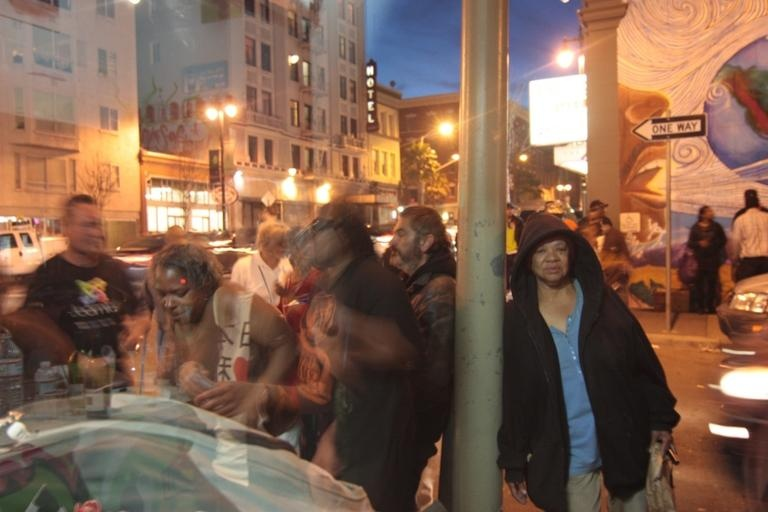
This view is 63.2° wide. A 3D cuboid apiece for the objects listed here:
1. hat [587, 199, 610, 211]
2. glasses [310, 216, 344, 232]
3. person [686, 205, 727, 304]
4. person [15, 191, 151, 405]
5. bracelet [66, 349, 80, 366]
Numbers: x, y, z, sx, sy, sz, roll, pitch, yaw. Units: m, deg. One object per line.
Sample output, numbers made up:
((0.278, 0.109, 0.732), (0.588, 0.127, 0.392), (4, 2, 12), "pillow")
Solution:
((3.892, -0.928, 11.285), (0.333, 0.131, 0.318), (-14, -2, 25), "hat")
((-0.294, -0.160, 3.115), (0.086, 0.069, 0.093), (1, -1, 7), "glasses")
((6.029, 0.057, 11.596), (0.608, 1.918, 0.274), (-1, 1, 28), "person")
((-1.431, 0.306, 2.971), (0.584, 0.431, 1.397), (5, 43, -32), "person")
((-1.408, 0.448, 2.793), (0.044, 0.053, 0.045), (-2, -24, 0), "bracelet")
